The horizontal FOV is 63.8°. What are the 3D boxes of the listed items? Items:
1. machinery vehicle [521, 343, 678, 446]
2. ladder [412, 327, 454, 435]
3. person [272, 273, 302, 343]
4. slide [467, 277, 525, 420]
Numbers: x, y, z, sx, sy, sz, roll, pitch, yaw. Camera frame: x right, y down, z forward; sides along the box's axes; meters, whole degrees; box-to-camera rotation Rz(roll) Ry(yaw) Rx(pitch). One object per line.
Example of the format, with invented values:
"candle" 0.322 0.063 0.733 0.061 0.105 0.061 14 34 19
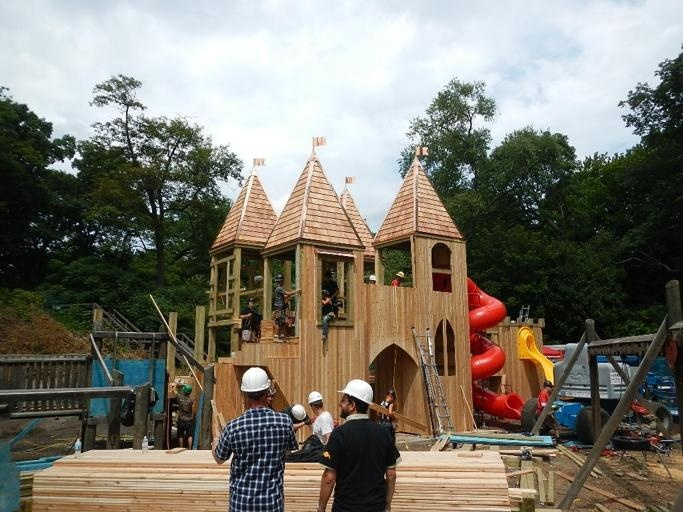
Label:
"machinery vehicle" 7.264 3.845 15.569 3.491 2.766 2.892 3 -16 -11
"ladder" 2.622 3.604 15.941 0.973 3.044 0.753 -3 -15 10
"person" -1.480 1.363 14.271 0.468 1.883 0.589 3 -2 -27
"slide" 5.161 3.472 19.135 1.511 6.468 1.773 6 -5 -35
